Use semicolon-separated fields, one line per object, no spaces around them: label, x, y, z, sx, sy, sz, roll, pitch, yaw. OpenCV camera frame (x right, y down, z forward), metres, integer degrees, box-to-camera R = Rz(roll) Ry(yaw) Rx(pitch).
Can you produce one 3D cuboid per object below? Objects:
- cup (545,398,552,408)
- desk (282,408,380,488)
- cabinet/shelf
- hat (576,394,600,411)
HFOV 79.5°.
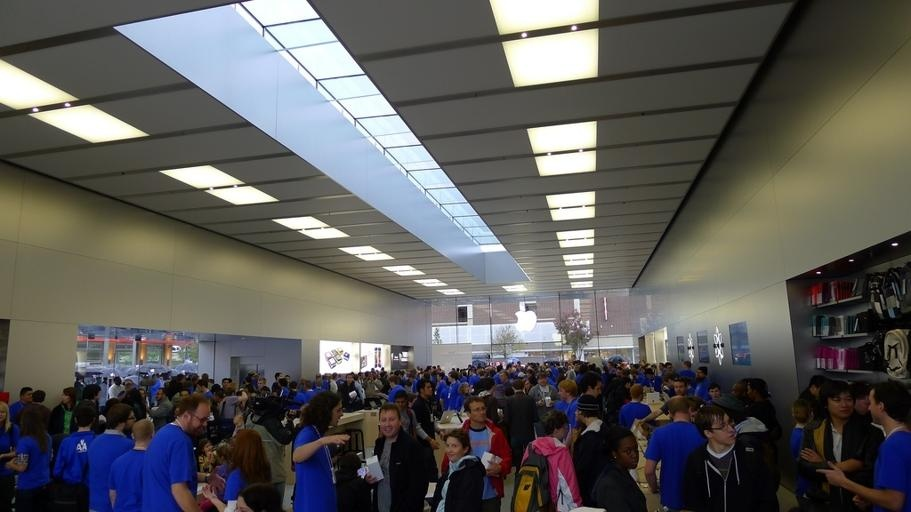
cup;2.344;3.701;13.794;0.179;0.180;0.318;-2;8;2
desk;-3.167;5.124;14.994;1.378;1.486;2.418;-9;-21;20
cabinet/shelf;7.463;1.599;10.420;0.410;1.122;1.182;6;-11;-6
hat;1.987;2.230;8.239;0.314;0.185;0.316;-5;-18;37
